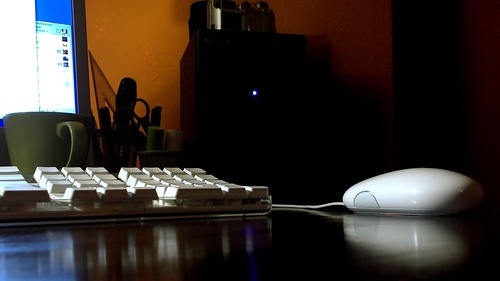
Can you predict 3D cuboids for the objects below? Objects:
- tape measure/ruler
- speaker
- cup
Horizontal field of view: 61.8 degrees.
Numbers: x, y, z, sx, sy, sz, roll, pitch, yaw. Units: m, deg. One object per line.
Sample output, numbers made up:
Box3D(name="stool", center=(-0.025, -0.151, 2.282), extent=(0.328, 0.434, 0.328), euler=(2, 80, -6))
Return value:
Box3D(name="tape measure/ruler", center=(-0.526, -0.188, 1.477), extent=(0.117, 0.316, 0.007), euler=(-10, -9, -19))
Box3D(name="speaker", center=(0.009, -0.082, 1.148), extent=(0.311, 0.430, 0.161), euler=(0, 12, -2))
Box3D(name="cup", center=(-0.493, 0.020, 1.125), extent=(0.252, 0.169, 0.171), euler=(-1, -2, 11))
